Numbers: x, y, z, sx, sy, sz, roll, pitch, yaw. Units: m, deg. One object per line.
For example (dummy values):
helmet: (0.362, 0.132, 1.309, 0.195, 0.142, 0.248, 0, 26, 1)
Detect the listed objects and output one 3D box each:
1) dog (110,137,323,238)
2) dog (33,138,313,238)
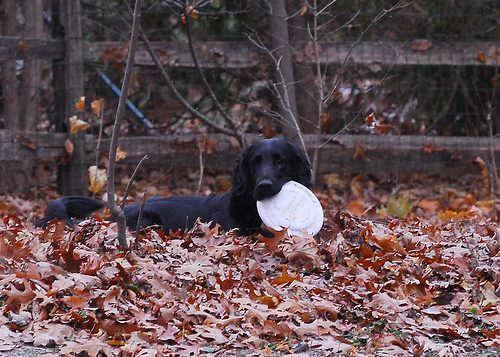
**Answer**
dog: (-0.475, 0.435, 11.178, 2.811, 1.494, 1.488, -7, -9, 22)
dog: (-0.756, 0.330, 11.371, 3.421, 1.672, 1.362, -5, 3, 6)
